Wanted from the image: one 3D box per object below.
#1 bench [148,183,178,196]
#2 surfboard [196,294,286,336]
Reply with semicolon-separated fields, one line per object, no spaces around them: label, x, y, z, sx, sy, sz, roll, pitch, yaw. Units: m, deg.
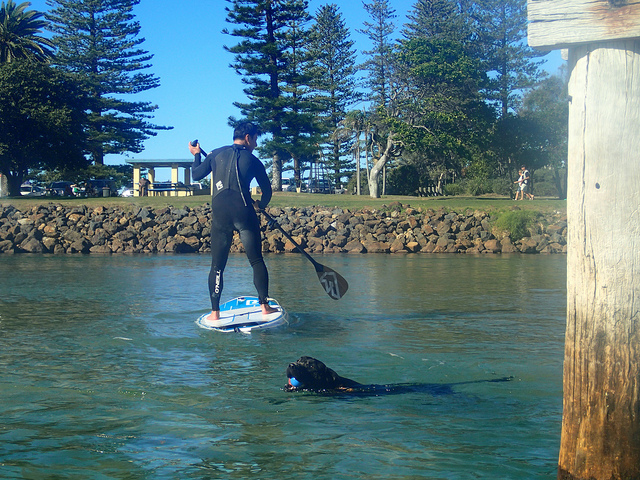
bench;-8.737;-2.936;66.023;1.501;0.480;2.304;-1;1;-7
surfboard;-2.075;2.054;31.565;2.333;0.953;1.633;1;4;-16
